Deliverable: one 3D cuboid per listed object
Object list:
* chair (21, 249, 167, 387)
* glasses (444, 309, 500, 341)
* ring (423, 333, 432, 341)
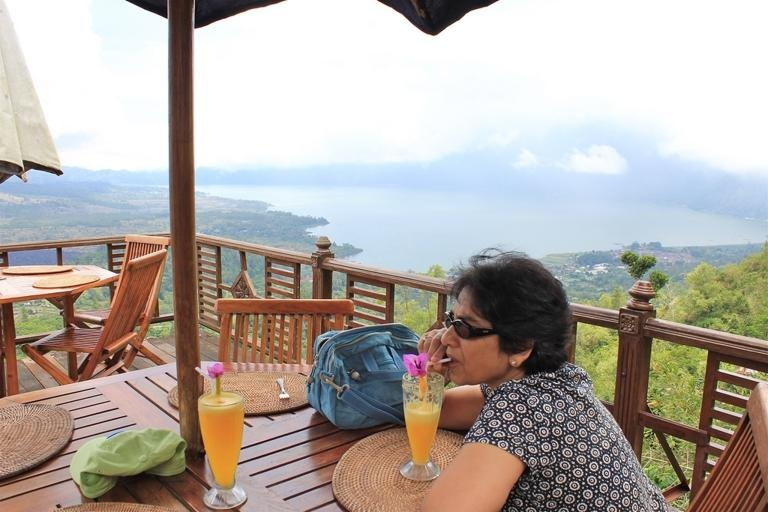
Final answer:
[{"bbox_3d":[-2.067,0.563,3.641,0.932,1.001,0.799,-6,7,-18],"label":"chair"},{"bbox_3d":[0.245,0.214,1.510,0.100,0.028,0.092,10,4,-23],"label":"glasses"},{"bbox_3d":[0.153,0.293,1.778,0.026,0.010,0.030,-3,6,6],"label":"ring"}]
